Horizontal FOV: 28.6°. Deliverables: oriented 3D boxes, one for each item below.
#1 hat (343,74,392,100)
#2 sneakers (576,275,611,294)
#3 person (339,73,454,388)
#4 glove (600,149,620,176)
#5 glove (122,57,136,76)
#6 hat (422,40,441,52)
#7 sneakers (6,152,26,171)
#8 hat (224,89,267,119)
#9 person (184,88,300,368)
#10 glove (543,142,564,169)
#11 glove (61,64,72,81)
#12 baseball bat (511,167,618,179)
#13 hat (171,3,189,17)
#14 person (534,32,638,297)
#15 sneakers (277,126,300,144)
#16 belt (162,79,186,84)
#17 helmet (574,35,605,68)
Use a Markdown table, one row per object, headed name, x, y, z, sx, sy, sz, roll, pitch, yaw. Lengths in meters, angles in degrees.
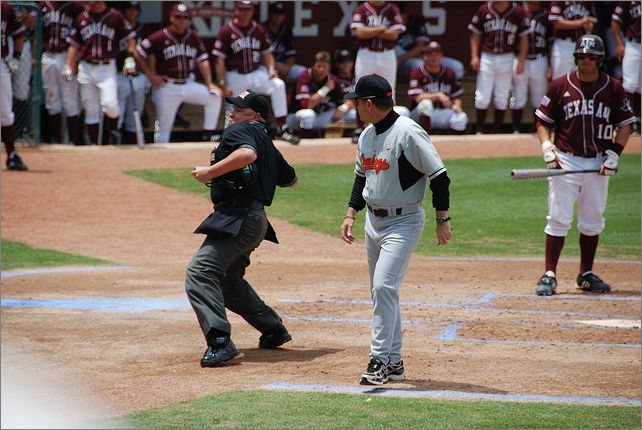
| name | x | y | z | sx | sy | sz | roll | pitch | yaw |
| --- | --- | --- | --- | --- | --- | --- | --- | --- | --- |
| hat | 0.504 | -1.292 | 12.730 | 0.375 | 0.177 | 0.244 | 4 | 10 | 7 |
| sneakers | 3.149 | 0.797 | 14.640 | 0.392 | 0.164 | 0.170 | 2 | 7 | 19 |
| person | 0.743 | 0.132 | 12.761 | 1.134 | 3.111 | 0.723 | 1 | 5 | 9 |
| glove | 3.302 | -0.600 | 14.420 | 0.225 | 0.278 | 0.139 | 19 | 0 | -14 |
| glove | -2.738 | -2.137 | 18.107 | 0.217 | 0.250 | 0.272 | -1 | 8 | -8 |
| hat | 1.690 | -2.536 | 19.077 | 0.244 | 0.169 | 0.314 | 1 | 5 | 4 |
| sneakers | -4.000 | -0.683 | 16.524 | 0.365 | 0.214 | 0.115 | 3 | 24 | -23 |
| hat | -0.767 | -1.212 | 13.328 | 0.494 | 0.204 | 0.312 | 18 | 8 | -24 |
| person | -0.858 | 0.128 | 13.152 | 1.114 | 2.809 | 0.458 | -3 | 6 | -35 |
| glove | 2.630 | -0.685 | 14.441 | 0.199 | 0.297 | 0.120 | -27 | -8 | 42 |
| glove | -3.574 | -1.991 | 17.791 | 0.204 | 0.289 | 0.239 | 2 | 4 | -12 |
| baseball bat | 2.785 | -0.476 | 14.400 | 1.181 | 0.121 | 0.140 | -3 | 8 | -15 |
| hat | -2.054 | -2.972 | 18.333 | 0.234 | 0.180 | 0.218 | -1 | 5 | -13 |
| person | 3.004 | -0.558 | 14.490 | 1.073 | 2.990 | 0.422 | 1 | 5 | 7 |
| sneakers | -0.523 | -1.224 | 19.258 | 0.456 | 0.183 | 0.164 | 18 | 42 | 31 |
| belt | -2.118 | -1.944 | 18.507 | 0.297 | 0.066 | 0.060 | -1 | 5 | -22 |
| helmet | 3.038 | -1.895 | 14.363 | 0.300 | 0.289 | 0.341 | 4 | 16 | 26 |
